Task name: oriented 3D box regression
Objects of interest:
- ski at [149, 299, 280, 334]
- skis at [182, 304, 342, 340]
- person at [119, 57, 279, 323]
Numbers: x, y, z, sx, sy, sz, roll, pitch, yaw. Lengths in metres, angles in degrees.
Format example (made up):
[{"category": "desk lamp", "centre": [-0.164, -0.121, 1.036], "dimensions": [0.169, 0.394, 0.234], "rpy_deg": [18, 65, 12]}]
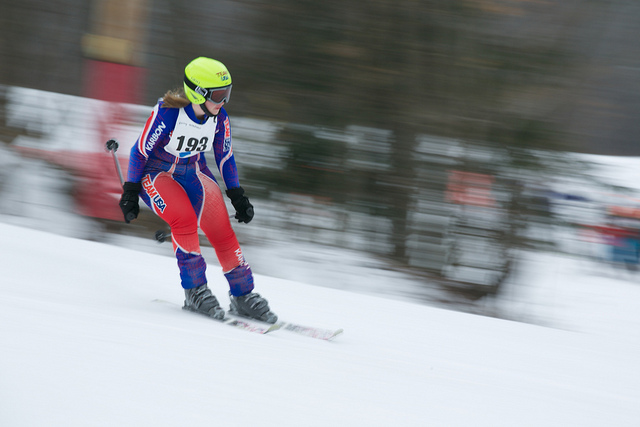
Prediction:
[{"category": "ski", "centre": [-0.935, 0.902, 6.998], "dimensions": [1.053, 0.064, 0.098], "rpy_deg": [11, 21, 4]}, {"category": "skis", "centre": [-0.528, 0.963, 7.016], "dimensions": [1.388, 0.100, 0.253], "rpy_deg": [8, 4, 1]}, {"category": "person", "centre": [-1.012, -0.225, 7.078], "dimensions": [1.399, 1.837, 0.449], "rpy_deg": [13, 6, -11]}]
